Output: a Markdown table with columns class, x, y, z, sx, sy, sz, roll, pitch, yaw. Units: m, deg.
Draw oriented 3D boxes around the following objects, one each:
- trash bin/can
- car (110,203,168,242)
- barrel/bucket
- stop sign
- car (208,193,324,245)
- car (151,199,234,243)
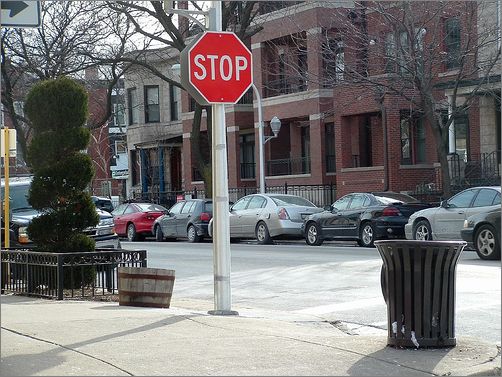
| class | x | y | z | sx | sy | sz | roll | pitch | yaw |
| --- | --- | --- | --- | --- | --- | --- | --- | --- | --- |
| trash bin/can | 3.042 | 1.869 | 19.068 | 1.518 | 1.844 | 1.413 | -1 | -1 | 19 |
| car | -4.360 | 1.254 | 40.608 | 1.041 | 0.779 | 2.394 | 0 | 2 | -37 |
| barrel/bucket | -2.145 | 2.034 | 21.811 | 1.252 | 0.765 | 1.231 | 2 | -5 | 0 |
| stop sign | -0.595 | -2.287 | 20.838 | 1.437 | 1.403 | 0.482 | -1 | -3 | -31 |
| car | 0.496 | 1.025 | 35.893 | 2.112 | 1.518 | 4.692 | 1 | -2 | -34 |
| car | -2.155 | 1.200 | 38.568 | 1.714 | 1.533 | 3.466 | 2 | -3 | -38 |
